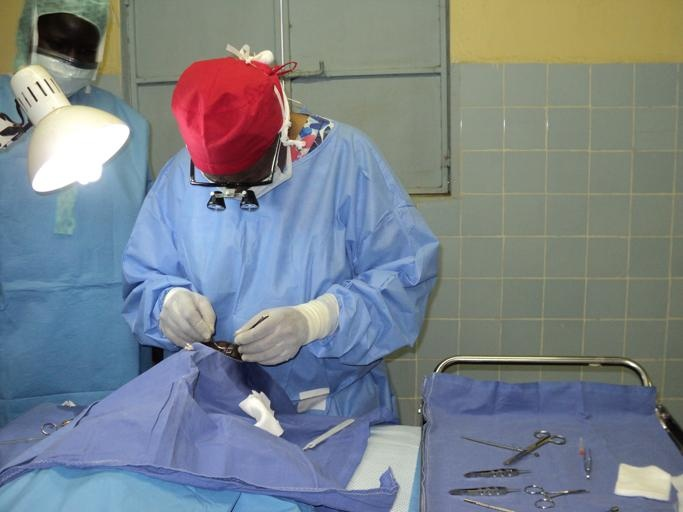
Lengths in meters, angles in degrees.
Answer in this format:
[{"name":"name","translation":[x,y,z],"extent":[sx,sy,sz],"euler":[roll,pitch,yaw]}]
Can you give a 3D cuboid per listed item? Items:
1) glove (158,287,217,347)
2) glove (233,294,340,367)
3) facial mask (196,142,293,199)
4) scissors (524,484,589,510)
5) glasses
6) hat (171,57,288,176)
[{"name":"glove","translation":[-0.540,0.223,2.921],"extent":[0.214,0.204,0.082],"euler":[2,14,19]},{"name":"glove","translation":[-0.184,0.213,2.880],"extent":[0.315,0.156,0.184],"euler":[-27,23,-29]},{"name":"facial mask","translation":[-0.302,-0.260,2.837],"extent":[0.216,0.256,0.074],"euler":[1,-3,9]},{"name":"scissors","translation":[0.675,0.762,2.679],"extent":[0.117,0.010,0.088],"euler":[-7,15,-5]},{"name":"glasses","translation":[-0.322,-0.274,2.855],"extent":[0.189,0.056,0.213],"euler":[2,53,4]},{"name":"hat","translation":[-0.377,-0.464,2.746],"extent":[0.280,0.430,0.212],"euler":[3,-8,10]}]
